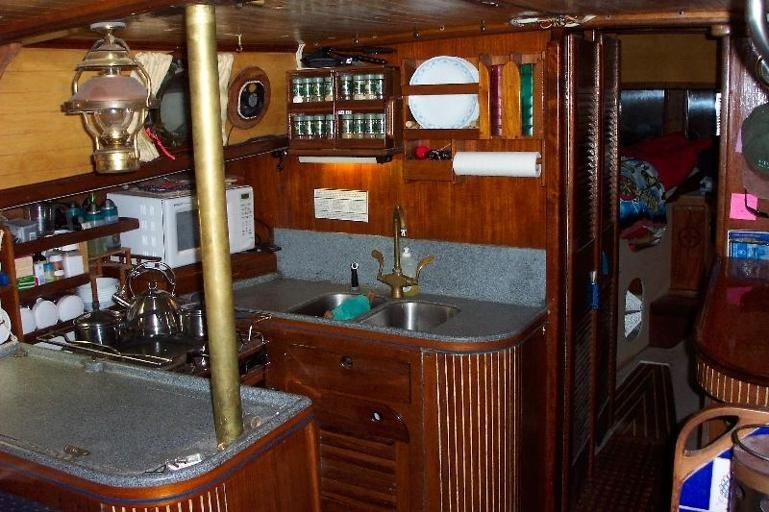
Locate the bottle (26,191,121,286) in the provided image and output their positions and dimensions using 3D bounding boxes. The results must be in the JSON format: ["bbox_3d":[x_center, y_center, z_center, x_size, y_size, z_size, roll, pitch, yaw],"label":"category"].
[{"bbox_3d":[-1.718,-0.127,3.345,0.499,0.282,0.487,-4,14,1],"label":"bottle"}]

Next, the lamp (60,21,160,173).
[{"bbox_3d":[-1.074,-0.615,2.377,0.295,0.626,0.847,-6,15,-20],"label":"lamp"}]

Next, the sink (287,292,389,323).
[{"bbox_3d":[-0.276,0.263,3.606,0.381,0.177,0.343,-2,7,-5],"label":"sink"}]

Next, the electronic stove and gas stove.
[{"bbox_3d":[-1.224,0.354,2.939,0.505,0.163,0.337,2,6,31],"label":"electronic stove and gas stove"}]

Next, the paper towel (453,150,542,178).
[{"bbox_3d":[0.605,-0.523,3.364,0.558,0.150,0.162,4,21,23],"label":"paper towel"}]

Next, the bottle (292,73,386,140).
[{"bbox_3d":[-0.212,-0.843,3.528,0.652,0.378,0.307,7,12,23],"label":"bottle"}]

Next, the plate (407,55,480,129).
[{"bbox_3d":[0.337,-0.883,3.322,0.433,0.390,0.294,12,16,32],"label":"plate"}]

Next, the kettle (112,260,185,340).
[{"bbox_3d":[-1.280,0.243,3.254,0.419,0.407,0.397,0,7,10],"label":"kettle"}]

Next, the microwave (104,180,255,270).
[{"bbox_3d":[-1.170,-0.229,3.733,0.717,0.572,0.995,15,18,40],"label":"microwave"}]

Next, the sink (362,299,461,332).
[{"bbox_3d":[0.118,0.357,3.465,0.300,0.158,0.296,6,11,34],"label":"sink"}]
